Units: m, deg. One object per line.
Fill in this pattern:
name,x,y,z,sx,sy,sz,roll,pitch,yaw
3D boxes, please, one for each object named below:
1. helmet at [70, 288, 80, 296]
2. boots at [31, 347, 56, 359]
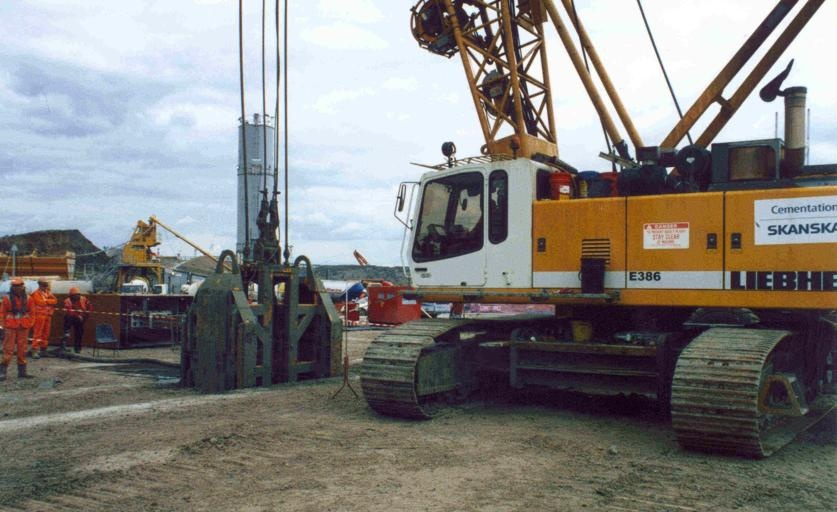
helmet,-9.688,1.009,20.271,0.316,0.187,0.225,0,4,1
boots,-10.395,2.691,20.029,0.832,0.365,0.275,-2,-1,-3
